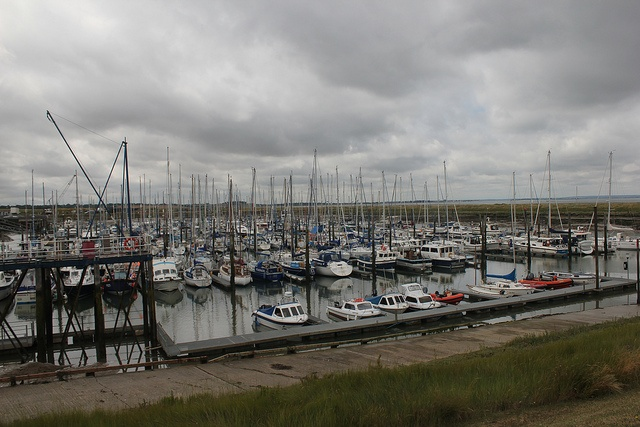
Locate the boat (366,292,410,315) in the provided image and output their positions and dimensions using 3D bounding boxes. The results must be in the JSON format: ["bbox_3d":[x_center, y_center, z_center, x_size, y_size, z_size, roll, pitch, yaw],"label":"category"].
[{"bbox_3d":[5.413,7.248,44.959,1.391,1.002,2.574,-3,0,-36],"label":"boat"}]

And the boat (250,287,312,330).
[{"bbox_3d":[-3.255,7.450,42.572,2.138,2.233,4.253,0,-4,-36],"label":"boat"}]

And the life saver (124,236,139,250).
[{"bbox_3d":[-12.497,2.107,37.173,0.924,1.007,0.254,-20,-15,1],"label":"life saver"}]

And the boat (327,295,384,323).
[{"bbox_3d":[2.474,7.557,43.810,1.719,1.423,3.334,-1,-1,-39],"label":"boat"}]
